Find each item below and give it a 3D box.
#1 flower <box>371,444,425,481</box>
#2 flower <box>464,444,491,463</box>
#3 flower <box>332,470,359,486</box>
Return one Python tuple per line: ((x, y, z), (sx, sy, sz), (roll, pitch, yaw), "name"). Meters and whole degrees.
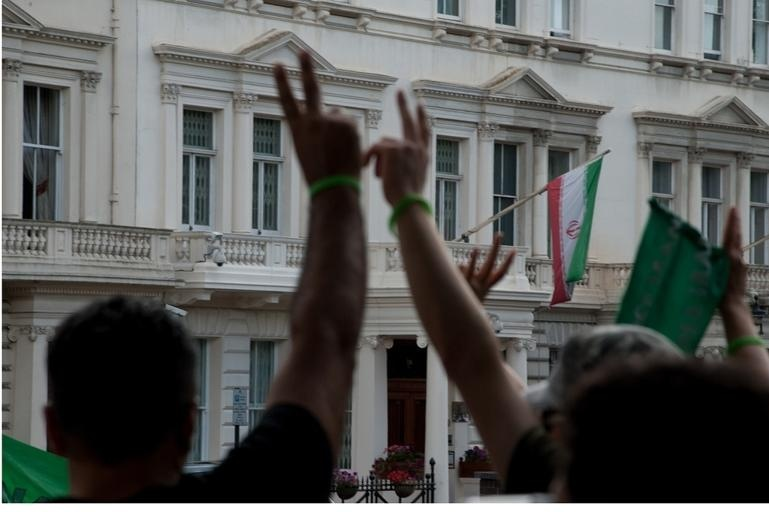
((0.318, 5.101, 51.696), (1.002, 0.548, 0.939), (1, -8, -5), "flower")
((2.337, 5.098, 53.792), (0.633, 0.477, 0.593), (4, -1, -12), "flower")
((-0.980, 5.319, 50.270), (0.458, 0.303, 0.456), (2, -7, 9), "flower")
